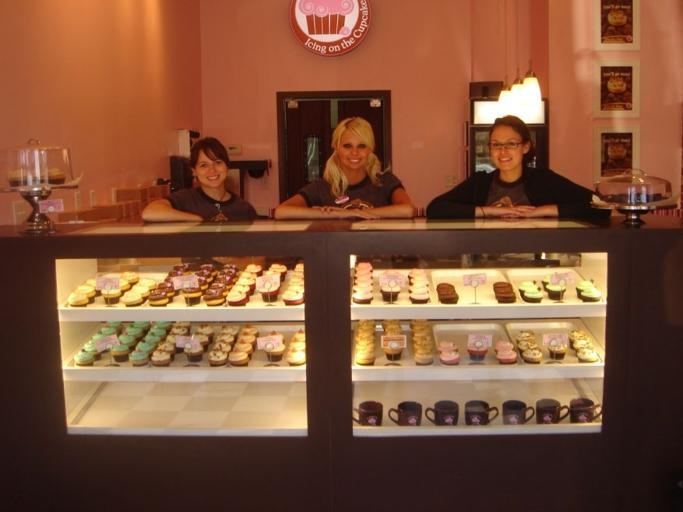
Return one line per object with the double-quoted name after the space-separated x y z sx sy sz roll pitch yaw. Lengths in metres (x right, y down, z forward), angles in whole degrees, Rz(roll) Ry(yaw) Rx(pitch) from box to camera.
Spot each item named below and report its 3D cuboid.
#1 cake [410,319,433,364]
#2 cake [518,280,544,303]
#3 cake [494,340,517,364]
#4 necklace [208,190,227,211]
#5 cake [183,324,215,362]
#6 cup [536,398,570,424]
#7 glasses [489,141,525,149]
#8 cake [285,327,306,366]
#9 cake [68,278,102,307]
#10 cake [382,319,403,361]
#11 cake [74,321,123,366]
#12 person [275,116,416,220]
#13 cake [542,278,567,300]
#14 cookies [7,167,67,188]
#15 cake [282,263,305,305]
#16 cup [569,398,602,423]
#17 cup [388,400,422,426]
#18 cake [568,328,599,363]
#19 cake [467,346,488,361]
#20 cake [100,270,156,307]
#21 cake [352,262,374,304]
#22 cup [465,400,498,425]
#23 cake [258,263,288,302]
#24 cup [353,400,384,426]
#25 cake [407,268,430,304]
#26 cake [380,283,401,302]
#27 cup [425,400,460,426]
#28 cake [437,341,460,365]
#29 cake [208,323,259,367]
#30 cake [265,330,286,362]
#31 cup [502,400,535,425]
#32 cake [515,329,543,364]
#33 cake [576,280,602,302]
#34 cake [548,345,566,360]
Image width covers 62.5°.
0.383 0.420 2.720 0.068 0.063 0.205 -4 22 3 "cake"
0.888 0.166 2.636 0.089 0.066 0.099 0 6 1 "cake"
0.780 0.455 2.673 0.093 0.080 0.094 -1 0 1 "cake"
-0.746 -0.340 3.438 0.092 0.125 0.044 4 -23 -20 "necklace"
-0.709 0.440 2.804 0.083 0.074 0.194 2 12 -3 "cake"
0.992 0.736 2.681 0.148 0.105 0.095 0 2 -5 "cup"
0.927 -0.626 3.164 0.160 0.039 0.048 2 14 8 "glasses"
-0.217 0.443 2.705 0.109 0.096 0.157 -1 4 -1 "cake"
-1.237 0.179 2.693 0.093 0.043 0.128 -2 14 -11 "cake"
0.250 0.414 2.689 0.074 0.071 0.204 0 13 1 "cake"
-1.204 0.426 2.777 0.140 0.069 0.211 -14 11 -1 "cake"
0.025 -0.484 3.379 0.830 0.668 0.495 1 10 -1 "person"
0.997 0.152 2.637 0.091 0.082 0.091 -1 6 3 "cake"
-1.441 -0.373 2.655 0.238 0.087 0.110 -7 15 -25 "cookies"
-0.225 0.134 2.671 0.076 0.061 0.205 1 36 0 "cake"
1.139 0.727 2.653 0.136 0.091 0.087 0 1 -6 "cup"
0.304 0.741 2.682 0.148 0.104 0.095 -1 2 17 "cup"
1.148 0.422 2.663 0.086 0.047 0.144 -9 31 4 "cake"
0.650 0.463 2.684 0.073 0.049 0.078 0 2 1 "cake"
-1.028 0.129 2.742 0.189 0.064 0.190 2 11 -5 "cake"
0.101 0.124 2.654 0.090 0.190 0.061 2 1 5 "cake"
0.672 0.741 2.673 0.144 0.100 0.092 1 -1 -8 "cup"
-0.339 0.128 2.703 0.112 0.064 0.182 -7 19 -1 "cake"
0.131 0.738 2.673 0.137 0.097 0.089 0 2 32 "cup"
0.361 0.140 2.626 0.084 0.060 0.171 -1 43 5 "cake"
0.233 0.166 2.666 0.080 0.056 0.081 1 9 2 "cake"
0.483 0.739 2.683 0.147 0.103 0.095 -2 1 20 "cup"
0.507 0.460 2.668 0.093 0.089 0.093 -1 1 0 "cake"
-0.540 0.447 2.809 0.145 0.083 0.237 1 16 -4 "cake"
-0.319 0.446 2.781 0.119 0.142 0.118 0 6 -4 "cake"
0.828 0.738 2.672 0.147 0.104 0.093 1 -2 -12 "cup"
0.904 0.435 2.701 0.082 0.057 0.160 -4 26 7 "cake"
1.153 0.162 2.623 0.091 0.077 0.091 0 5 1 "cake"
1.028 0.454 2.676 0.075 0.049 0.075 0 1 4 "cake"
